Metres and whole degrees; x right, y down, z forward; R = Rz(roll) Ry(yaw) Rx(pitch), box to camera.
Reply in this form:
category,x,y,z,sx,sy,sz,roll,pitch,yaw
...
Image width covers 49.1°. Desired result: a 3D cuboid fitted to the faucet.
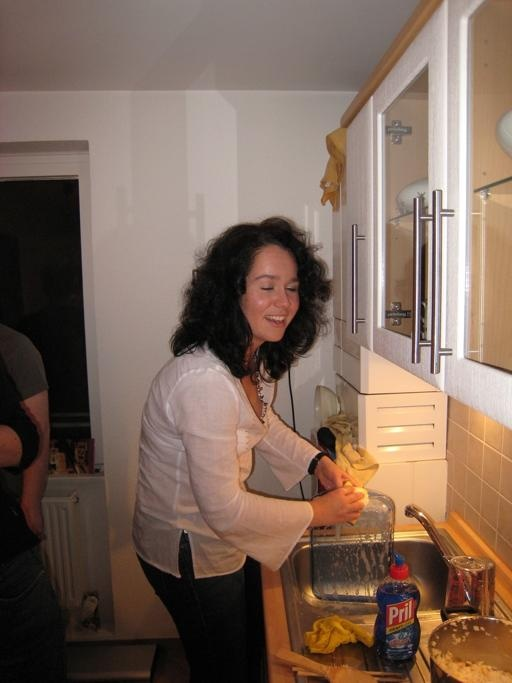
category,x,y,z,sx,sy,sz,roll,pitch,yaw
faucet,0.345,0.449,1.137,0.076,0.213,0.210,4,-6,-17
